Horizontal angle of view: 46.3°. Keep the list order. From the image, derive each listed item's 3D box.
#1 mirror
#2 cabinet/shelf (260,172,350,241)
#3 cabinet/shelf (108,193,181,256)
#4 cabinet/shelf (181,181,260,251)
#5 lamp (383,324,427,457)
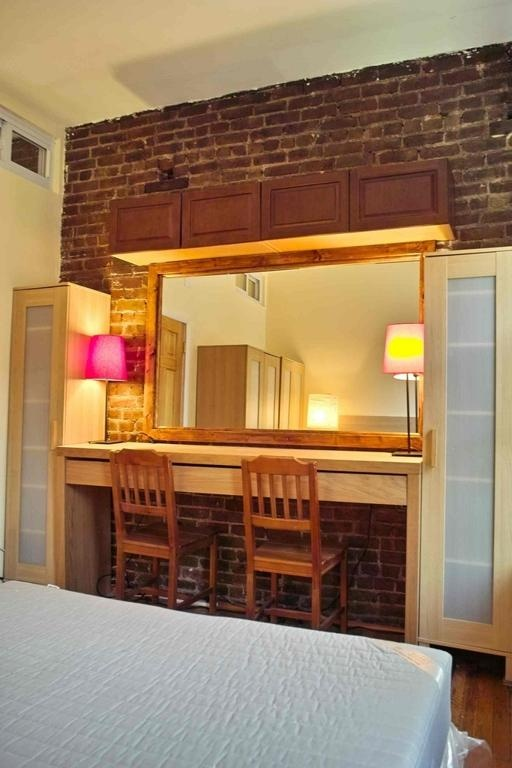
[{"bbox_3d":[0.097,-0.190,3.216,1.471,1.084,0.143,-1,-12,12],"label":"mirror"},{"bbox_3d":[0.222,-0.913,2.900,0.456,0.294,0.273,-7,40,0],"label":"cabinet/shelf"},{"bbox_3d":[-0.554,-0.847,3.285,0.459,0.289,0.275,1,-2,25],"label":"cabinet/shelf"},{"bbox_3d":[-0.160,-0.819,3.104,0.432,0.312,0.250,-3,-11,11],"label":"cabinet/shelf"},{"bbox_3d":[0.670,0.023,2.755,0.175,0.613,0.257,1,-6,12],"label":"lamp"}]
